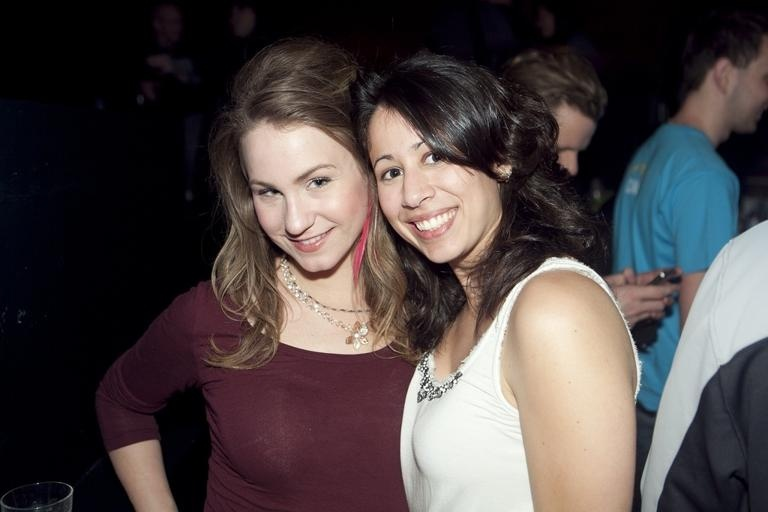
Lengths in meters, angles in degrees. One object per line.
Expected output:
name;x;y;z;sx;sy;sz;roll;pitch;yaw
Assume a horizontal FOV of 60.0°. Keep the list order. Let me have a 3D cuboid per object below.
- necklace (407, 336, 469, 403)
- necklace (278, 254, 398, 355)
necklace;0.226;0.513;2.844;0.038;0.193;0.198;31;-5;-22
necklace;-0.245;0.217;3.117;0.594;0.159;0.231;35;35;2
